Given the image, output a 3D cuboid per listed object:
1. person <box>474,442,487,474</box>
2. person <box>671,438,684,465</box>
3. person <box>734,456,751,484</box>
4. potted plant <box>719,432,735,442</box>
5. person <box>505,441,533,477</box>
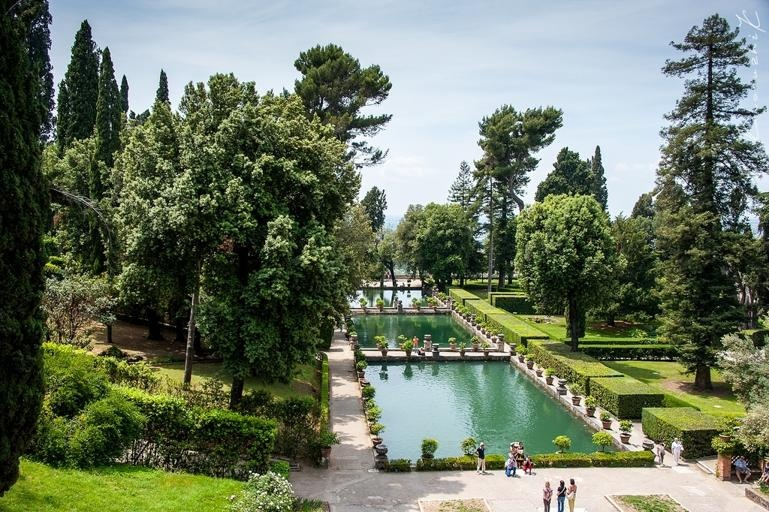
[{"bbox_3d":[4.843,10.033,35.432,0.538,1.526,0.760,3,0,13],"label":"person"},{"bbox_3d":[15.132,10.027,36.480,0.510,1.447,0.636,3,0,33],"label":"person"},{"bbox_3d":[17.736,10.500,34.966,0.772,1.380,0.460,3,0,21],"label":"person"},{"bbox_3d":[17.234,9.033,35.560,0.647,0.518,0.737,3,0,10],"label":"potted plant"},{"bbox_3d":[6.698,10.167,35.537,1.129,1.575,0.701,7,-24,-5],"label":"person"}]
